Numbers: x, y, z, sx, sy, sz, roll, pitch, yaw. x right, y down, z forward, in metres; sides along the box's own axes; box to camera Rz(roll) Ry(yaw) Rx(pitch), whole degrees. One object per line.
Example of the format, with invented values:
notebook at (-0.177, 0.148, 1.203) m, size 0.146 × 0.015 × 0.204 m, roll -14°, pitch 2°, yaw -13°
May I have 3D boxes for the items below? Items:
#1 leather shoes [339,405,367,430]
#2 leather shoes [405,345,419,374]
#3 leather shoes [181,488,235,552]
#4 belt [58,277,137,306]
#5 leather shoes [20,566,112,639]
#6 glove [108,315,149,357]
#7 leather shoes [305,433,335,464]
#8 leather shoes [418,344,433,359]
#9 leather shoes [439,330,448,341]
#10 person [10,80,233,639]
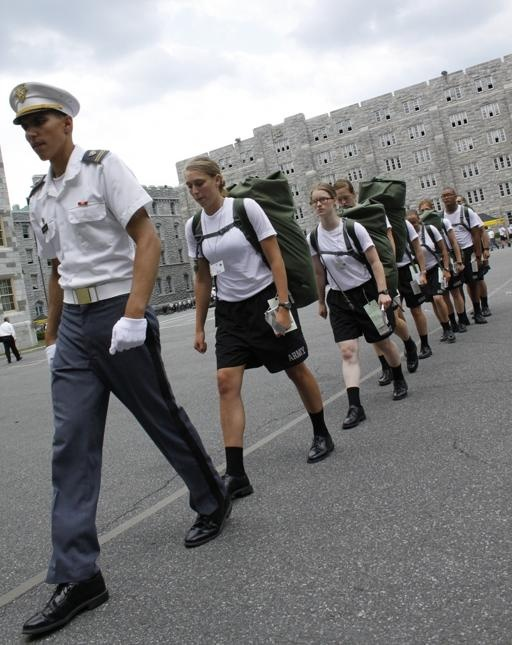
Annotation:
leather shoes at (0.908, 0.878, 4.425) m, size 0.114 × 0.135 × 0.330 m, roll -9°, pitch -4°, yaw 29°
leather shoes at (2.083, 0.482, 6.361) m, size 0.149 × 0.400 × 0.195 m, roll 0°, pitch 6°, yaw 38°
leather shoes at (-0.237, 1.019, 2.483) m, size 0.124 × 0.138 × 0.333 m, roll 3°, pitch 17°, yaw 27°
belt at (-0.712, -0.125, 2.092) m, size 0.323 × 0.095 × 0.095 m, roll -10°, pitch -7°, yaw 9°
leather shoes at (-0.678, 1.014, 1.738) m, size 0.095 × 0.117 × 0.288 m, roll -12°, pitch -5°, yaw 33°
glove at (-0.526, 0.063, 1.948) m, size 0.136 × 0.161 × 0.087 m, roll 8°, pitch 42°, yaw -15°
leather shoes at (0.486, 0.942, 3.582) m, size 0.110 × 0.115 × 0.282 m, roll -6°, pitch 0°, yaw 25°
leather shoes at (2.594, 0.452, 7.366) m, size 0.177 × 0.170 × 0.390 m, roll -13°, pitch -7°, yaw 24°
leather shoes at (3.324, 0.239, 8.526) m, size 0.133 × 0.161 × 0.414 m, roll -13°, pitch -7°, yaw 17°
person at (-0.697, 0.034, 2.184) m, size 0.721 × 2.190 × 0.783 m, roll -10°, pitch -7°, yaw -8°
